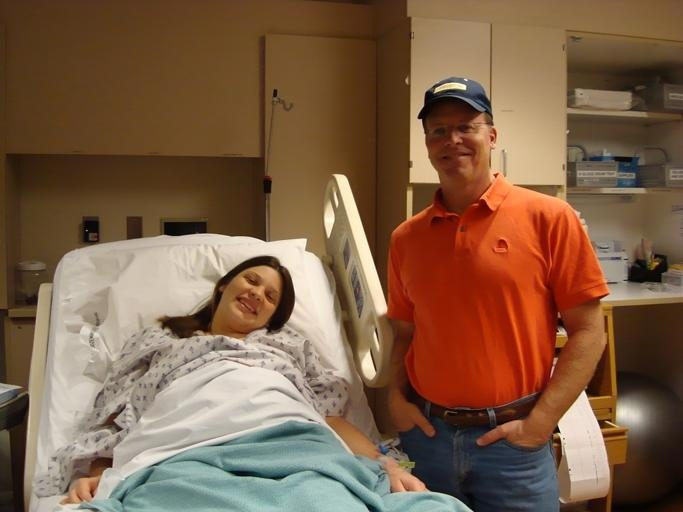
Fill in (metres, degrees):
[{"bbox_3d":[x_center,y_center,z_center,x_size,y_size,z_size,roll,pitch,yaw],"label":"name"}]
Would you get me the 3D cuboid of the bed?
[{"bbox_3d":[-0.601,0.428,2.773,1.267,1.154,0.849,-14,-28,-17],"label":"bed"}]
